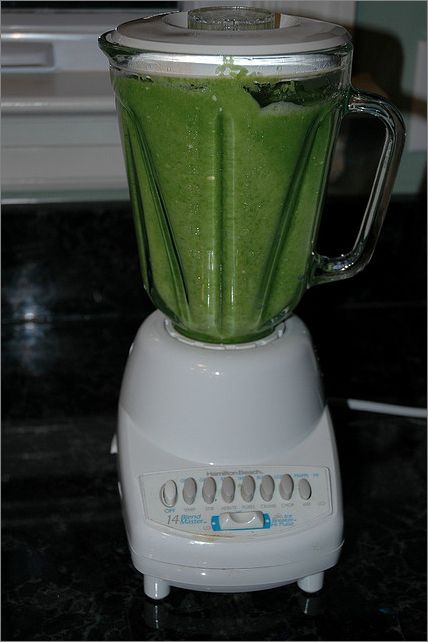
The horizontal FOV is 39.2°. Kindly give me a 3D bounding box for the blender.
[{"bbox_3d":[0.017,-0.008,0.476,0.227,0.403,0.295,10,36,14],"label":"blender"}]
